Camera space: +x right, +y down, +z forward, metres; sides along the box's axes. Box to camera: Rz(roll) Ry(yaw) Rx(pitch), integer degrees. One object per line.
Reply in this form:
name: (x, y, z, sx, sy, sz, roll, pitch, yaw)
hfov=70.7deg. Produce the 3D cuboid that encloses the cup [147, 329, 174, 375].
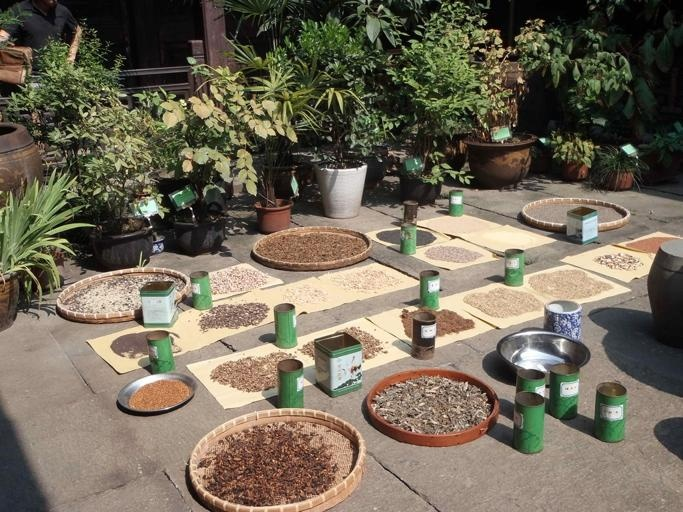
cup: (-1.311, 0.698, 3.469, 0.179, 0.333, 0.266, -7, 25, -19)

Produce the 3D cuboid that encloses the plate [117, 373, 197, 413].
plate: (-1.256, 0.926, 3.267, 0.509, 0.138, 0.333, -3, 20, -11)

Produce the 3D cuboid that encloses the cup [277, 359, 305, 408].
cup: (-0.332, 0.831, 3.102, 0.168, 0.341, 0.193, -2, 25, -7)

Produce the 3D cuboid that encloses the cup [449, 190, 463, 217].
cup: (1.474, -0.667, 6.214, 0.175, 0.312, 0.139, 3, 26, 4)

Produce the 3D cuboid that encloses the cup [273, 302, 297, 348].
cup: (-0.439, 0.528, 3.764, 0.175, 0.345, 0.196, -1, 25, -5)
